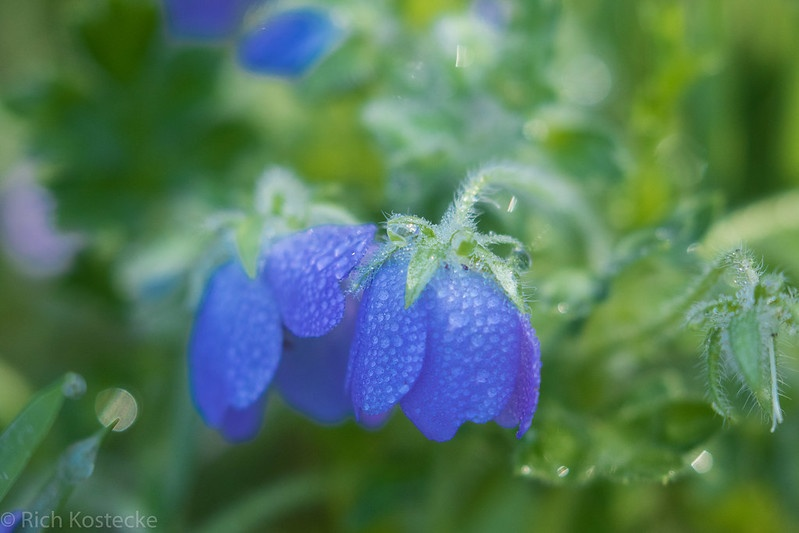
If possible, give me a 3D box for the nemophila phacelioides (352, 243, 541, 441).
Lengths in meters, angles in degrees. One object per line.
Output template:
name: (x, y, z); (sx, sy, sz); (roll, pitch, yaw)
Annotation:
nemophila phacelioides: (0.066, 0.105, 1.144); (0.220, 0.244, 0.219); (16, 28, 43)
